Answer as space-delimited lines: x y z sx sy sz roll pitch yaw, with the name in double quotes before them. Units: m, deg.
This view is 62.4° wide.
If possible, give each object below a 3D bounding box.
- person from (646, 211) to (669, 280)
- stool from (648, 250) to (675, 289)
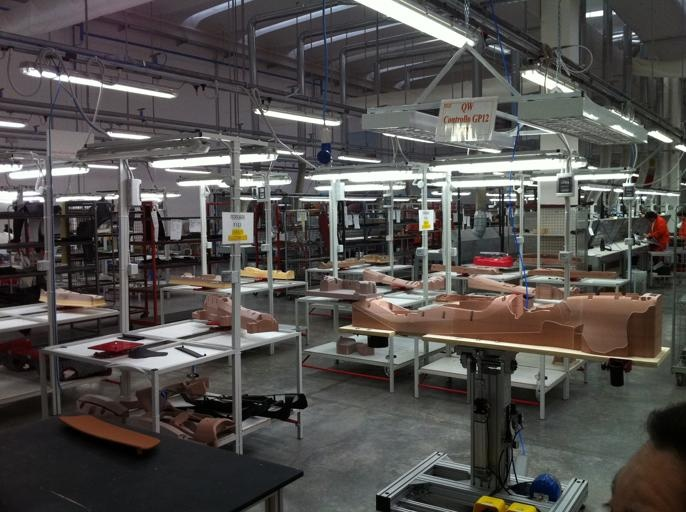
"person" 6.726 -0.276 12.079 0.399 1.366 2.060 0 4 30
"stool" 6.763 0.306 12.029 0.303 0.615 0.862 0 3 28
